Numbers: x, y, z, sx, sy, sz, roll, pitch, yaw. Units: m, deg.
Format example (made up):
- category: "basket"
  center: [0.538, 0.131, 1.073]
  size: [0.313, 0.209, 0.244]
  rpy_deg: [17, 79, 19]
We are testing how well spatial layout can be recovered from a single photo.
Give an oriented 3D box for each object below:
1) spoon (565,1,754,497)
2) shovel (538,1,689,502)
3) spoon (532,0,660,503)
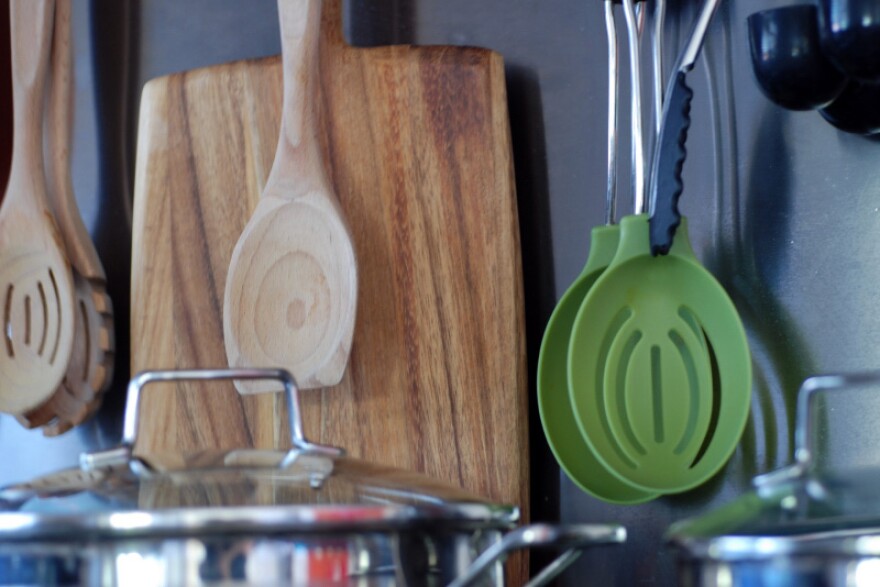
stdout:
- category: "spoon"
  center: [0.215, -0.004, 1.021]
  size: [0.145, 0.510, 0.068]
  rpy_deg: [5, 0, 23]
- category: "shovel"
  center: [0.166, -0.045, 1.088]
  size: [0.115, 0.496, 0.063]
  rpy_deg: [1, -7, 34]
- category: "spoon"
  center: [0.139, -0.029, 1.056]
  size: [0.105, 0.514, 0.070]
  rpy_deg: [-1, -7, 22]
